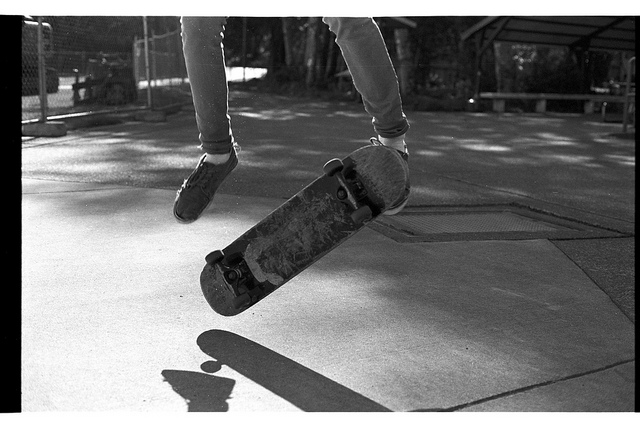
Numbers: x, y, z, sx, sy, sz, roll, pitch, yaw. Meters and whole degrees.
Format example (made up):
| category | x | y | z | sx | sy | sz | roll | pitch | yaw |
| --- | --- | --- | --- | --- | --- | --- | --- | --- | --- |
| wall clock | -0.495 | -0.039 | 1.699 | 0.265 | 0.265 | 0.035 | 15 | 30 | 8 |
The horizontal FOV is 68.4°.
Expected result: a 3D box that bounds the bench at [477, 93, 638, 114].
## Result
| category | x | y | z | sx | sy | sz | roll | pitch | yaw |
| --- | --- | --- | --- | --- | --- | --- | --- | --- | --- |
| bench | 3.823 | -1.802 | 7.892 | 0.882 | 0.386 | 2.551 | -11 | 20 | -34 |
